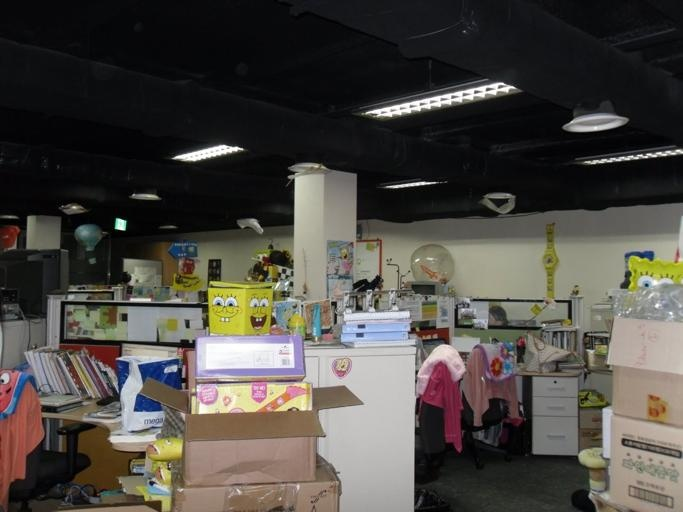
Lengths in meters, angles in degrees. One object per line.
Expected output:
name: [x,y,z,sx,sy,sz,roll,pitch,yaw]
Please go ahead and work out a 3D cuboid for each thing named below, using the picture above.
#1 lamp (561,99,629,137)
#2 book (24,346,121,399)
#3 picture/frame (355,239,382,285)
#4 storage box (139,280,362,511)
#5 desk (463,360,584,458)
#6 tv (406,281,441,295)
lamp: [1.927,-1.070,4.162,0.432,0.214,0.256,0,1,22]
book: [-2.340,1.009,4.715,0.535,0.186,0.533,11,2,-11]
picture/frame: [0.535,0.110,10.474,0.795,1.105,0.079,-2,-6,20]
storage box: [-0.456,0.650,2.707,0.844,0.577,0.843,1,-6,-11]
desk: [1.954,1.615,5.805,1.255,0.925,0.730,0,-5,-1]
tv: [1.377,0.538,9.202,0.505,0.262,0.328,2,-4,16]
